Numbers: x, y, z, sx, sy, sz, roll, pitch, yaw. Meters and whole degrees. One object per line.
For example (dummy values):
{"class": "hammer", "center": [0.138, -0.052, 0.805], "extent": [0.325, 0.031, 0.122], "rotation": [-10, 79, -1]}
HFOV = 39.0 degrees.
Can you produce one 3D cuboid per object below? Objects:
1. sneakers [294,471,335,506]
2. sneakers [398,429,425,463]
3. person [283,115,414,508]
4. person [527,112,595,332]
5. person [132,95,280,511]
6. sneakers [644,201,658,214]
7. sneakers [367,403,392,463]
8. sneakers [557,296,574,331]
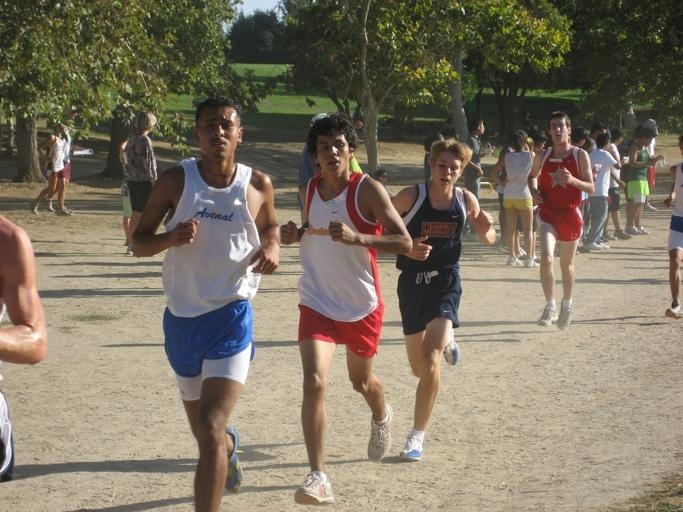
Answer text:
{"class": "sneakers", "center": [-0.220, 1.927, 7.945], "extent": [0.317, 0.276, 0.183], "rotation": [1, 8, -1]}
{"class": "sneakers", "center": [0.641, 1.727, 8.714], "extent": [0.130, 0.144, 0.358], "rotation": [0, -2, 20]}
{"class": "person", "center": [0.128, 0.396, 8.325], "extent": [0.993, 3.217, 1.100], "rotation": [1, 8, -2]}
{"class": "person", "center": [2.795, -0.486, 12.347], "extent": [0.749, 2.699, 0.973], "rotation": [2, 8, 7]}
{"class": "person", "center": [-0.945, 0.280, 7.780], "extent": [1.052, 3.095, 1.052], "rotation": [-5, 10, -39]}
{"class": "sneakers", "center": [7.854, -1.260, 24.416], "extent": [0.221, 0.267, 0.658], "rotation": [4, 3, 32]}
{"class": "sneakers", "center": [0.368, 1.597, 8.761], "extent": [0.192, 0.509, 0.208], "rotation": [7, -7, 17]}
{"class": "sneakers", "center": [2.810, 0.729, 12.120], "extent": [0.153, 0.411, 0.172], "rotation": [9, -1, 19]}
